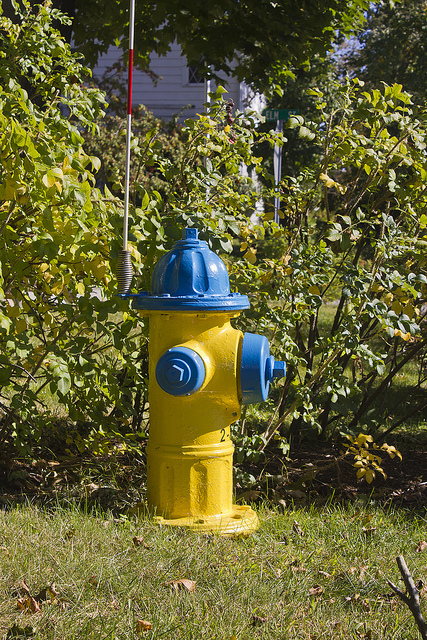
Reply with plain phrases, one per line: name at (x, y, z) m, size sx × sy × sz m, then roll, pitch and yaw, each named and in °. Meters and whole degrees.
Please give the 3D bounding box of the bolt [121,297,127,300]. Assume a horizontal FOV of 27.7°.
bolt at (-0.361, -0.088, 3.461) m, size 0.015 × 0.013 × 0.011 m, roll 1°, pitch 2°, yaw 16°

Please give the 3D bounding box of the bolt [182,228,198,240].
bolt at (-0.095, -0.350, 3.527) m, size 0.062 × 0.052 × 0.055 m, roll 0°, pitch -6°, yaw -7°

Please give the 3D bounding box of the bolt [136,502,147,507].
bolt at (-0.303, 0.776, 3.653) m, size 0.034 × 0.012 × 0.014 m, roll -2°, pitch 11°, yaw 24°

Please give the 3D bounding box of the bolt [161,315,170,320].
bolt at (-0.194, -0.015, 3.451) m, size 0.043 × 0.025 × 0.011 m, roll 13°, pitch 13°, yaw 38°

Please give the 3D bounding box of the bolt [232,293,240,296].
bolt at (0.099, -0.112, 3.620) m, size 0.016 × 0.013 × 0.022 m, roll 3°, pitch 3°, yaw 31°

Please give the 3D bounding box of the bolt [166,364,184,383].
bolt at (-0.145, 0.203, 3.341) m, size 0.062 × 0.058 × 0.032 m, roll 12°, pitch 16°, yaw 15°

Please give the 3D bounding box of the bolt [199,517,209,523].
bolt at (-0.038, 0.797, 3.467) m, size 0.038 × 0.011 × 0.040 m, roll 5°, pitch 10°, yaw 0°
